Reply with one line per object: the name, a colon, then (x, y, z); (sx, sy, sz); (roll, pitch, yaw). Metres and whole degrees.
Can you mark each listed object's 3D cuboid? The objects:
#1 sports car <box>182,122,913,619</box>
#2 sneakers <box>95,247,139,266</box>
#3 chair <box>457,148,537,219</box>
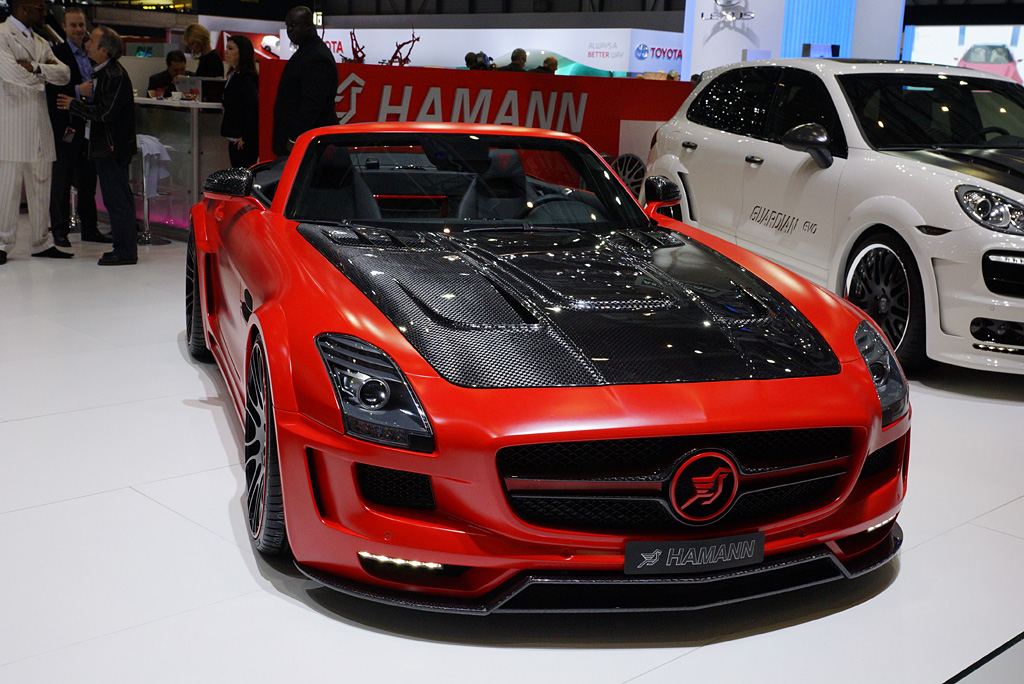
sports car: (-0.325, -0.492, 3.436); (2.453, 1.180, 4.093); (-5, 28, -25)
sneakers: (-4.710, -1.010, 7.168); (0.463, 0.161, 0.180); (4, 10, -21)
chair: (0.008, -0.851, 3.433); (0.324, 0.185, 0.509); (-2, 3, 16)
